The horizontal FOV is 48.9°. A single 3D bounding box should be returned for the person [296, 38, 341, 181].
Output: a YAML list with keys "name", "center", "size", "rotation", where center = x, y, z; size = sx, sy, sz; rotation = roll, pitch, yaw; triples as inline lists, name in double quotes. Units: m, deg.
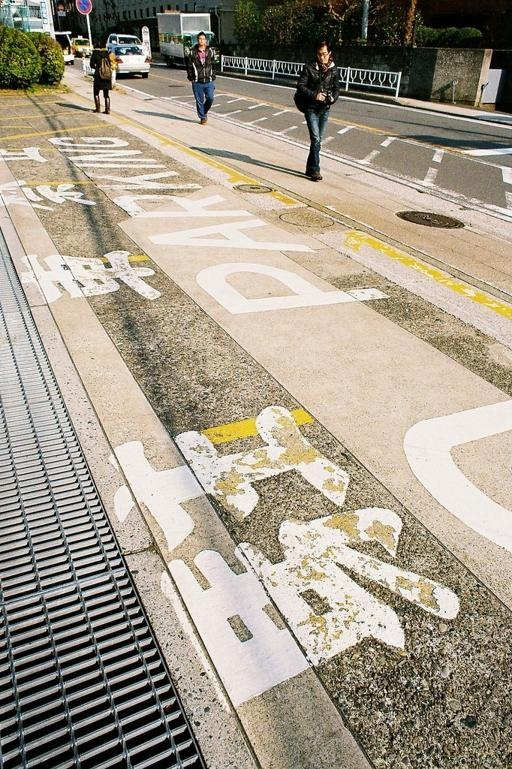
- name: "person"
  center: [0.953, -4.347, 9.194]
  size: [0.682, 2.025, 0.923]
  rotation: [4, 25, 5]

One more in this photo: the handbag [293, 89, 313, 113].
- name: "handbag"
  center: [0.752, -4.450, 8.944]
  size: [0.066, 0.317, 0.326]
  rotation: [-28, 40, -19]

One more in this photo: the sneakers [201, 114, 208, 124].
- name: "sneakers"
  center: [-1.352, -6.899, 14.706]
  size: [0.131, 0.187, 0.429]
  rotation: [-10, 45, -12]

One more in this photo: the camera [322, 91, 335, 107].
- name: "camera"
  center: [1.128, -4.432, 8.825]
  size: [0.151, 0.204, 0.060]
  rotation: [-24, 12, -33]

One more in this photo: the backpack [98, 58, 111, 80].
- name: "backpack"
  center: [-3.777, -7.862, 14.131]
  size: [0.343, 0.485, 0.177]
  rotation: [-16, 19, -37]
